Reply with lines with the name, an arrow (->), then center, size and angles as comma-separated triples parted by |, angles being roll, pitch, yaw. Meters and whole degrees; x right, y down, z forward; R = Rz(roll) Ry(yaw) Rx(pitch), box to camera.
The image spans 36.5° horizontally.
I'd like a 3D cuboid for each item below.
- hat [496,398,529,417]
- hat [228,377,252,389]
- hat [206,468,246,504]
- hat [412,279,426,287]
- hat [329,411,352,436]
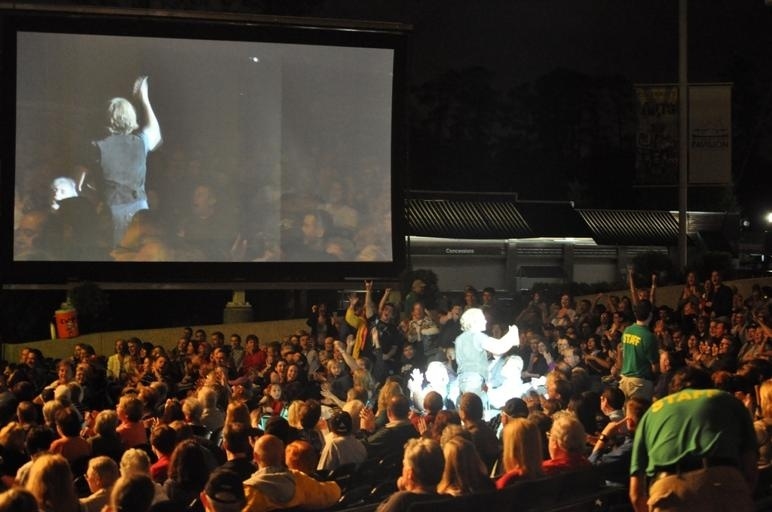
hat -> 2.491, 2.847, 21.982 | 0.457, 0.346, 0.583 | -3, -4, 45
hat -> -3.187, 2.718, 25.019 | 0.413, 0.142, 0.254 | 1, -2, 3
hat -> -2.834, 4.001, 20.456 | 0.504, 0.640, 0.641 | 8, -9, -33
hat -> 0.771, 0.666, 28.817 | 0.195, 0.139, 0.268 | 0, -6, -41
hat -> -0.846, 3.132, 21.850 | 0.359, 0.463, 0.460 | 2, 31, 4
